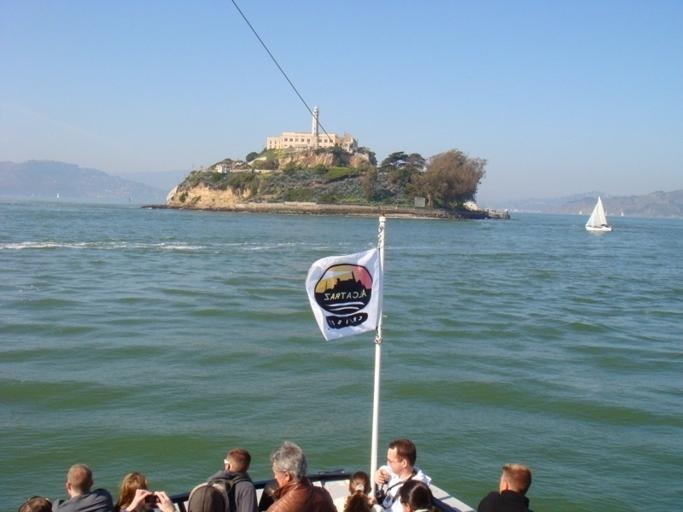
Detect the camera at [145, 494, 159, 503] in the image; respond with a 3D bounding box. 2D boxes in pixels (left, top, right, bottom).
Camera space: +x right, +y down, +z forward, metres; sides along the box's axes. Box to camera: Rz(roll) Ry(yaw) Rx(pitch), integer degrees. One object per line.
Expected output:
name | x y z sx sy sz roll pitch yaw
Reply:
camera | -3.645 4.650 17.597 0.201 0.163 0.160 6 -4 -6
